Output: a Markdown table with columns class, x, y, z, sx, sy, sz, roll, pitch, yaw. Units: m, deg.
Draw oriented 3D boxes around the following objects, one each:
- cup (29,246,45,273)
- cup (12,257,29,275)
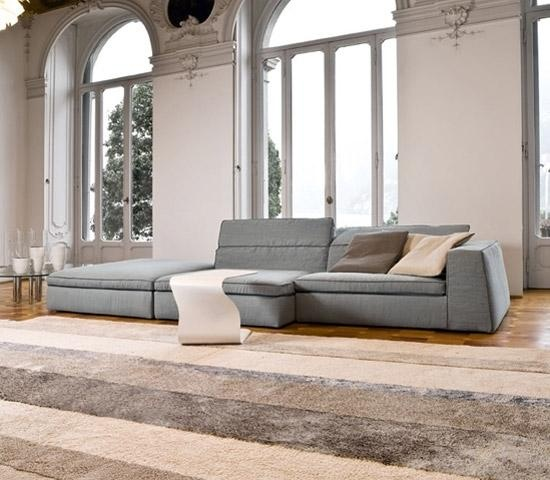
| class | x | y | z | sx | sy | sz | roll | pitch | yaw |
| --- | --- | --- | --- | --- | --- | --- | --- | --- | --- |
| cup | -2.239 | 0.175 | 4.703 | 0.127 | 0.236 | 0.173 | -2 | 3 | -26 |
| cup | -2.324 | 0.244 | 4.528 | 0.122 | 0.138 | 0.140 | 2 | 1 | 37 |
